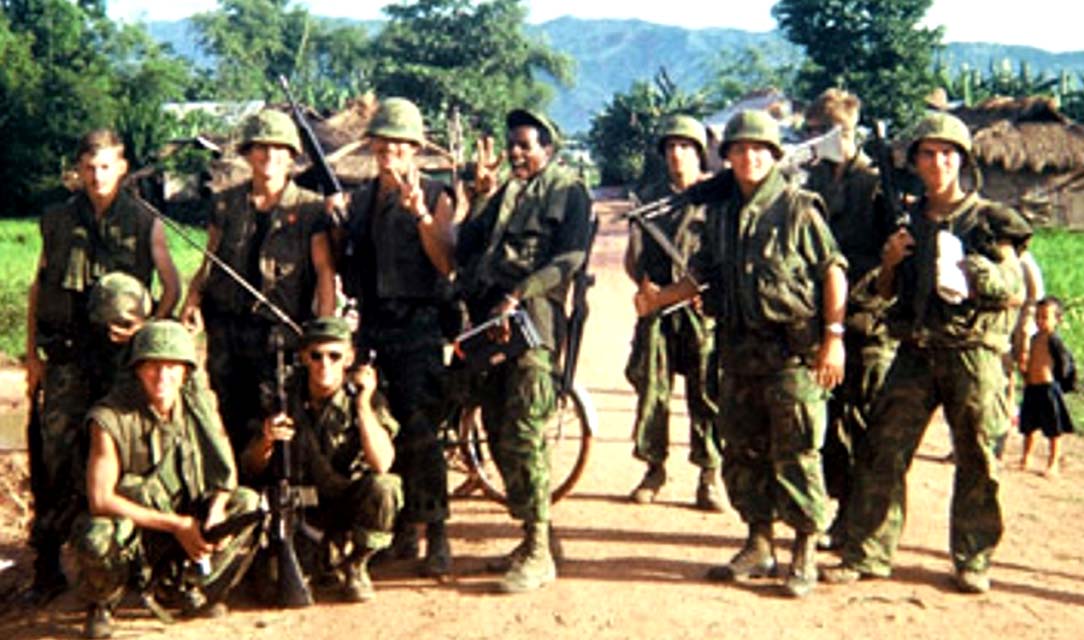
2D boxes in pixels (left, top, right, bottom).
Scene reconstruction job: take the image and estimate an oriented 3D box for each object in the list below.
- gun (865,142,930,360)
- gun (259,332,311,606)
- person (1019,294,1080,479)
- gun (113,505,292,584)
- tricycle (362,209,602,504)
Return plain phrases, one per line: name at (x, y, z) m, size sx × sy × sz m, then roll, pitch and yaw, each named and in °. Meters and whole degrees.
gun at (2.830, -0.550, 10.680) m, size 0.507 × 1.563 × 0.512 m, roll 2°, pitch 1°, yaw 24°
gun at (-2.133, 1.150, 10.318) m, size 0.322 × 1.985 × 0.654 m, roll 0°, pitch -2°, yaw -35°
person at (4.861, 0.618, 12.803) m, size 0.596 × 1.614 × 0.553 m, roll 1°, pitch 2°, yaw 21°
gun at (-2.617, 1.682, 10.188) m, size 1.400 × 0.365 × 0.510 m, roll -16°, pitch -13°, yaw 18°
tricycle at (-0.092, 0.414, 11.290) m, size 1.155 × 2.637 × 1.035 m, roll 2°, pitch 4°, yaw 20°
